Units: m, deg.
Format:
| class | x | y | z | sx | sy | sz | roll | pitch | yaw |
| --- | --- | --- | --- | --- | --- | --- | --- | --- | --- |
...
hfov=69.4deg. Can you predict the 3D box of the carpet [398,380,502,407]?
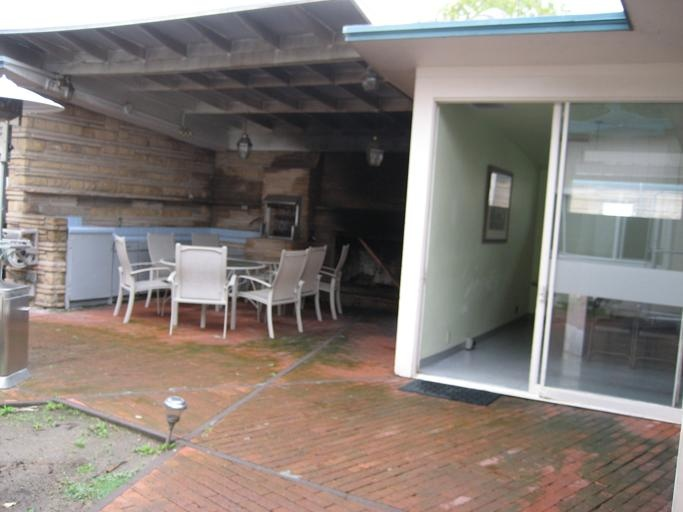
| class | x | y | z | sx | sy | sz | roll | pitch | yaw |
| --- | --- | --- | --- | --- | --- | --- | --- | --- | --- |
| carpet | 1.054 | 1.318 | 4.767 | 0.892 | 0.019 | 0.407 | 5 | 6 | 21 |
